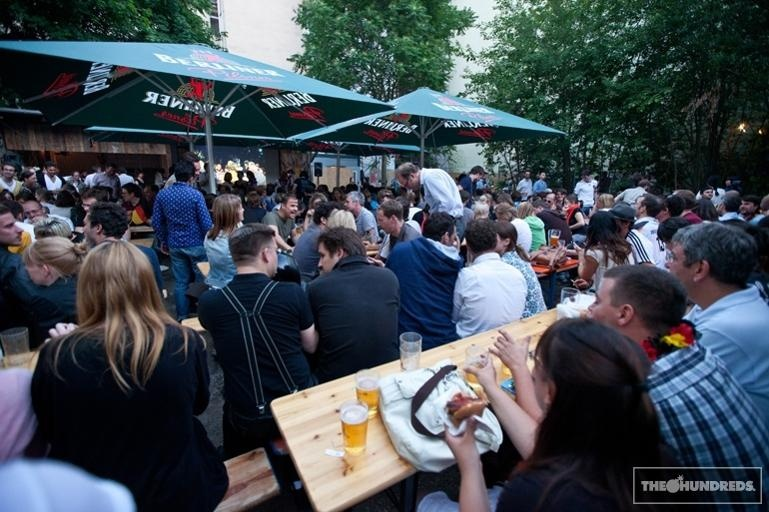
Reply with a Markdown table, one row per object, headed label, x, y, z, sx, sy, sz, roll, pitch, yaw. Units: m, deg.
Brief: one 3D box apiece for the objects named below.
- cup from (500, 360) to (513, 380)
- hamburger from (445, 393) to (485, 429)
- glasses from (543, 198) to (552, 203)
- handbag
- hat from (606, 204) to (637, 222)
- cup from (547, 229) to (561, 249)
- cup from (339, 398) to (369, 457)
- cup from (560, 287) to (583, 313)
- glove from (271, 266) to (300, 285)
| label | x | y | z | sx | sy | sz | roll | pitch | yaw |
| --- | --- | --- | --- | --- | --- | --- | --- | --- | --- |
| cup | 0.955 | 0.890 | 4.200 | 0.125 | 0.127 | 0.131 | -1 | 5 | 0 |
| hamburger | 0.545 | 0.999 | 3.542 | 0.271 | 0.123 | 0.234 | -19 | -3 | 15 |
| glasses | 2.952 | -1.002 | 9.639 | 0.142 | 0.041 | 0.132 | 14 | 6 | -13 |
| handbag | 0.253 | 1.074 | 3.602 | 0.770 | 0.269 | 0.747 | -16 | 54 | -12 |
| hat | 2.537 | -0.446 | 5.666 | 0.245 | 0.082 | 0.220 | 3 | 12 | -29 |
| cup | 2.331 | -0.242 | 7.391 | 0.254 | 0.284 | 0.259 | 0 | 0 | 0 |
| cup | -0.198 | 1.146 | 3.599 | 0.171 | 0.360 | 0.176 | 1 | 9 | 0 |
| cup | 1.621 | 0.362 | 4.684 | 0.133 | 0.160 | 0.163 | 11 | 4 | -2 |
| glove | -0.924 | 0.176 | 5.076 | 0.174 | 0.307 | 0.238 | 0 | 4 | 12 |
